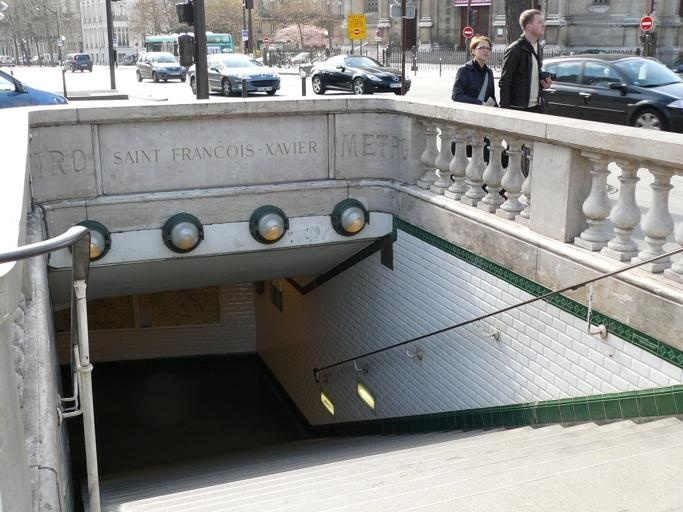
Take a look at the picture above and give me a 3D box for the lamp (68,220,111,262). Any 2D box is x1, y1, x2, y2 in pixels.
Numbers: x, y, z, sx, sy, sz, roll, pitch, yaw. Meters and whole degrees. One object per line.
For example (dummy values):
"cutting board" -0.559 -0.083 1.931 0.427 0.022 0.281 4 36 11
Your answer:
"lamp" -2.633 -0.188 7.448 0.267 0.423 0.312 -9 -6 -6

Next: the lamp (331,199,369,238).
"lamp" 0.080 -0.476 8.280 0.333 0.348 0.108 -20 14 -5

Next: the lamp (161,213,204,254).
"lamp" -1.772 -0.265 7.746 0.459 0.433 0.291 -8 -6 -16
